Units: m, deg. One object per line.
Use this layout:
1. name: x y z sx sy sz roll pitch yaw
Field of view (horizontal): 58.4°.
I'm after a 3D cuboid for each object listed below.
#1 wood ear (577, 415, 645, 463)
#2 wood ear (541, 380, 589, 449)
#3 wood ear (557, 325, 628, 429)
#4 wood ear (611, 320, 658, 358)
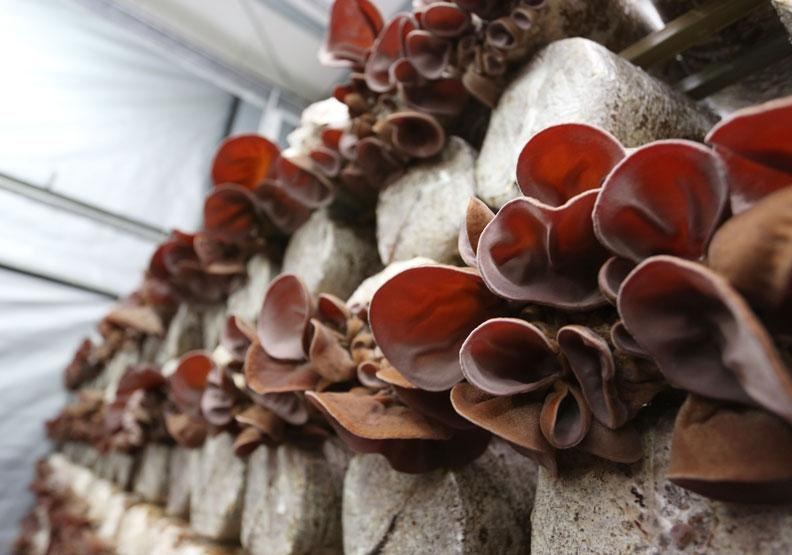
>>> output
1. wood ear: 0.353 0.254 1.132 0.118 0.037 0.126 0 5 -20
2. wood ear: 0.262 0.207 1.098 0.069 0.039 0.114 -7 39 13
3. wood ear: 0.317 0.135 1.115 0.089 0.167 0.043 -36 -6 39
4. wood ear: 0.355 0.092 1.055 0.038 0.061 0.013 -52 -12 -3
